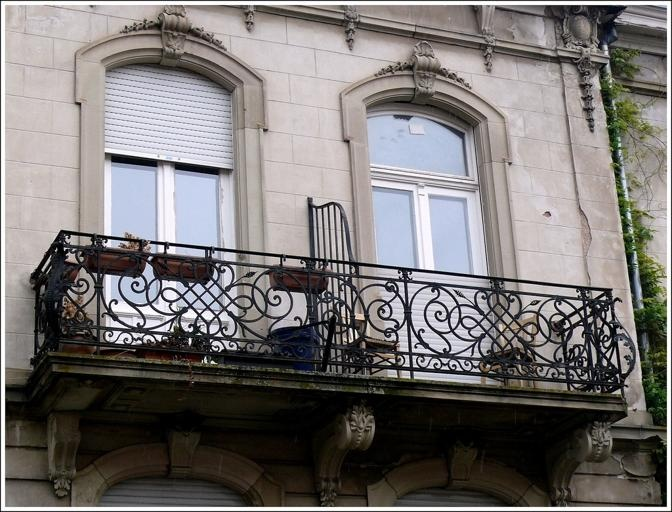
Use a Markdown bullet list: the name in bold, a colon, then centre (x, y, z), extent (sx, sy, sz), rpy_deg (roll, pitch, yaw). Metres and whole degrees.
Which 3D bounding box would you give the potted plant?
- **potted plant**: centre (-1.868, 0.970, 19.666), extent (0.705, 0.460, 0.578), rpy_deg (9, 9, -17)

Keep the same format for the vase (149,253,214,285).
- **vase**: centre (-1.819, 0.180, 19.763), extent (0.726, 0.412, 0.457), rpy_deg (-2, -17, -4)

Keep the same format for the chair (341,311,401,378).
- **chair**: centre (0.476, 1.041, 20.488), extent (0.755, 0.822, 0.754), rpy_deg (0, -4, 43)

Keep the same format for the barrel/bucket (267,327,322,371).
- **barrel/bucket**: centre (-0.506, 1.021, 19.935), extent (0.585, 0.592, 0.527), rpy_deg (2, -20, -7)

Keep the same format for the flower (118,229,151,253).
- **flower**: centre (-2.377, -0.179, 19.914), extent (0.286, 0.170, 0.381), rpy_deg (0, -1, 2)

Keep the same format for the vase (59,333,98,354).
- **vase**: centre (-2.946, 0.995, 19.183), extent (0.285, 0.251, 0.276), rpy_deg (2, -11, -13)

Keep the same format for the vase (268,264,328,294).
- **vase**: centre (-0.482, 0.318, 20.184), extent (0.696, 0.369, 0.513), rpy_deg (-2, -17, -2)
